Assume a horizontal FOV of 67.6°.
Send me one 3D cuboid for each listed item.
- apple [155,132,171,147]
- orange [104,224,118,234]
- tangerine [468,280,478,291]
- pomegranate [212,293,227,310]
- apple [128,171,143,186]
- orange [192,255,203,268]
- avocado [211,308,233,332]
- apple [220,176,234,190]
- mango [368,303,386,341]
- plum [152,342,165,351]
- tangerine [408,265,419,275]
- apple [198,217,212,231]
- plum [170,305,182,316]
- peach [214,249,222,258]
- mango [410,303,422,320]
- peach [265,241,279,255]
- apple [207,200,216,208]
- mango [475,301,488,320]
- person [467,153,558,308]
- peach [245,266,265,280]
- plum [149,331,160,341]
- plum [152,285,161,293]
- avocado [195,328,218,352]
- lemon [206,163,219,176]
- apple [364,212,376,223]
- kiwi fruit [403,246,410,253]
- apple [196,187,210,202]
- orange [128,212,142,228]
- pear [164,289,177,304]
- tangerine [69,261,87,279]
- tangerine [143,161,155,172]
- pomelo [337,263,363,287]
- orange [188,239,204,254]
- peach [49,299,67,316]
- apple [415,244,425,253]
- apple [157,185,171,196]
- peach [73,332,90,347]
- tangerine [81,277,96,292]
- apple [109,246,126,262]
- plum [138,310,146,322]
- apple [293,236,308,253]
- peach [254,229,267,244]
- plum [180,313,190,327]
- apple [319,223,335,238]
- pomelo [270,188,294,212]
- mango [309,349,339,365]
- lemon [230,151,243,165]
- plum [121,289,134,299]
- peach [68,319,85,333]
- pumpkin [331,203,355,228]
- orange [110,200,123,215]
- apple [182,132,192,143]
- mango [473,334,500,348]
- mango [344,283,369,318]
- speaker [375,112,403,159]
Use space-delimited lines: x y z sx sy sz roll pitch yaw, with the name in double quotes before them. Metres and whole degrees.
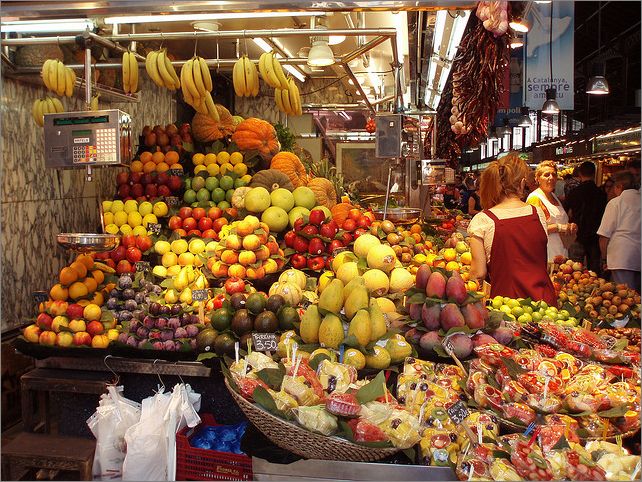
"apple" -1.695 -1.083 5.111 0.123 0.158 0.094 3 7 23
"orange" -1.968 -0.119 4.502 0.091 0.098 0.097 16 30 -16
"tangerine" 1.088 0.320 3.448 0.047 0.053 0.051 -6 27 42
"pomegranate" -0.713 0.424 3.365 0.068 0.096 0.082 12 21 -1
"apple" -1.866 -0.627 4.846 0.108 0.118 0.138 12 -40 -12
"orange" -1.059 0.172 4.115 0.067 0.073 0.084 7 -29 10
"avocado" -0.643 0.490 3.089 0.097 0.114 0.142 3 19 -1
"apple" -0.921 -0.560 4.695 0.118 0.153 0.127 5 5 10
"mango" 0.306 0.448 2.686 0.085 0.194 0.085 -11 -12 -7
"plum" -1.094 0.697 3.207 0.047 0.030 0.050 -1 3 -4
"tangerine" 0.754 0.234 3.952 0.063 0.086 0.068 -1 4 5
"apple" -1.070 -0.156 4.429 0.104 0.142 0.111 8 9 -3
"plum" -1.000 0.469 3.307 0.058 0.078 0.061 12 3 -8
"peach" -0.835 0.102 3.922 0.033 0.069 0.130 -3 7 -31
"mango" 0.542 0.400 2.746 0.077 0.104 0.082 3 -9 -11
"peach" -0.410 0.054 4.005 0.089 0.117 0.098 -3 3 3
"apple" -1.053 -0.356 4.618 0.048 0.066 0.051 1 6 2
"mango" 0.883 0.385 2.658 0.042 0.086 0.041 -15 -18 -35
"person" 1.366 -0.100 3.579 0.556 1.138 0.532 2 9 4
"peach" -0.525 0.253 3.862 0.102 0.116 0.107 -1 -1 7
"plum" -1.135 0.639 3.271 0.080 0.048 0.068 -1 6 -9
"plum" -1.304 0.384 3.796 0.041 0.047 0.056 0 -2 1
"avocado" -0.721 0.609 3.083 0.122 0.166 0.129 10 2 5
"lemon" -1.088 -0.717 4.889 0.116 0.154 0.125 -1 0 8
"apple" 0.460 -0.233 4.471 0.103 0.139 0.107 4 8 21
"kiwi fruit" 0.722 0.072 4.080 0.044 0.050 0.047 1 -6 -3
"apple" -1.146 -0.443 4.648 0.115 0.150 0.118 4 21 -6
"orange" -1.764 -0.194 4.606 0.122 0.164 0.128 10 -17 -14
"pear" -1.165 0.427 3.730 0.106 0.094 0.140 -3 7 -28
"tangerine" -1.839 0.220 3.700 0.106 0.119 0.135 3 -25 0
"tangerine" -1.757 -0.751 4.894 0.102 0.113 0.109 -16 -20 -5
"pomelo" 0.198 0.238 3.417 0.136 0.181 0.146 0 2 5
"orange" -1.090 0.051 4.222 0.149 0.129 0.092 2 6 16
"peach" -1.879 0.472 3.466 0.101 0.113 0.102 9 -2 -8
"apple" 0.864 0.064 4.226 0.071 0.059 0.099 0 10 2
"apple" -1.557 -0.496 4.749 0.090 0.109 0.114 -5 8 -42
"peach" -1.649 0.665 3.299 0.086 0.098 0.091 -2 -6 -6
"tangerine" -1.764 0.328 3.664 0.085 0.097 0.109 -1 -5 10
"apple" -1.755 0.100 4.214 0.108 0.146 0.115 24 1 -2
"plum" -1.269 0.529 3.402 0.040 0.078 0.056 -1 -7 23
"apple" -0.172 0.028 4.061 0.118 0.161 0.125 -5 11 -2
"peach" -0.496 -0.042 4.023 0.101 0.138 0.113 13 20 43
"plum" -0.931 0.536 3.285 0.060 0.082 0.064 -1 7 2
"apple" 0.053 -0.089 4.039 0.108 0.129 0.113 -1 2 3
"pomelo" -0.348 -0.373 4.393 0.183 0.209 0.225 -3 -4 0
"mango" 0.015 0.604 2.511 0.143 0.067 0.152 1 7 2
"lemon" -0.886 -0.851 5.070 0.113 0.129 0.142 -1 -18 7
"plum" -1.457 0.398 3.618 0.082 0.075 0.070 28 -8 -38
"peach" -1.708 0.593 3.359 0.137 0.083 0.061 3 7 23
"pumpkin" 0.211 -0.267 4.693 0.202 0.216 0.216 15 8 4
"orange" -1.966 -0.318 4.621 0.108 0.149 0.115 0 5 6
"apple" -1.436 -1.101 5.138 0.090 0.118 0.097 5 2 39
"mango" 0.864 0.529 2.535 0.128 0.059 0.132 3 7 24
"mango" 0.200 0.347 2.730 0.129 0.228 0.137 10 14 -9
"speaker" 0.646 -1.009 4.608 0.241 0.400 0.118 1 6 7
